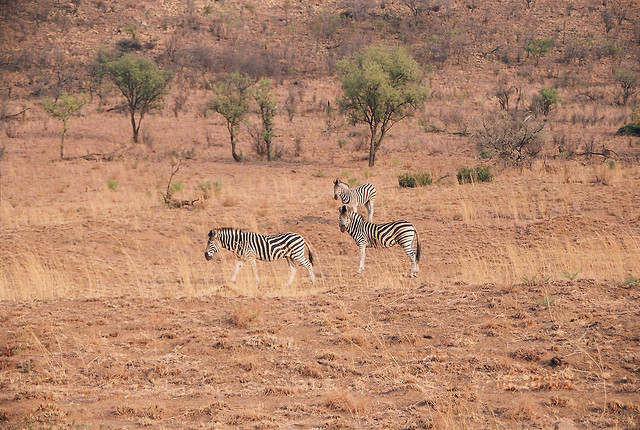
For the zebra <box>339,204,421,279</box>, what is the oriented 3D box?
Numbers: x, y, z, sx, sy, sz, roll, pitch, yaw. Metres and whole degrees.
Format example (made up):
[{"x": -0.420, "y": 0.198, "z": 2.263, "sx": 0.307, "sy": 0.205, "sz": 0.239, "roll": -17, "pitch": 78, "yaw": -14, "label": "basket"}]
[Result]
[{"x": 3.872, "y": 1.739, "z": 75.430, "sx": 5.838, "sy": 4.509, "sz": 1.751, "roll": 5, "pitch": 3, "yaw": 10, "label": "zebra"}]

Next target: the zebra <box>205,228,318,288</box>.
[{"x": -3.862, "y": 2.714, "z": 74.616, "sx": 7.159, "sy": 4.536, "sz": 1.687, "roll": -3, "pitch": 10, "yaw": -4, "label": "zebra"}]
